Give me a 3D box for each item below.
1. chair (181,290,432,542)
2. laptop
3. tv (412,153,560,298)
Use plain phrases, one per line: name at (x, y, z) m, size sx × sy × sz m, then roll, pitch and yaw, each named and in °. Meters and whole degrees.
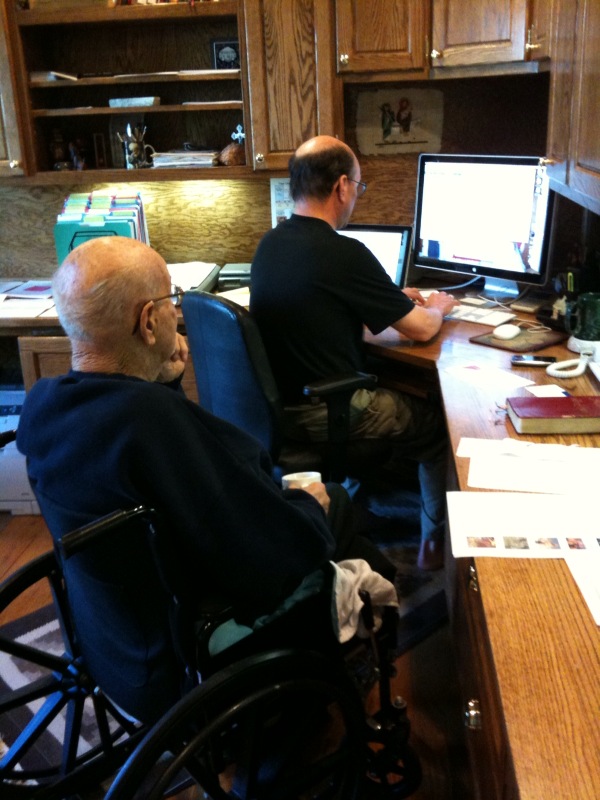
chair at (-0.005, -0.017, 1.770) m, size 0.480 × 0.553 × 0.522 m, roll -10°, pitch 15°, yaw -22°
laptop at (0.301, -0.604, 2.560) m, size 0.278 × 0.260 × 0.388 m, roll -5°, pitch 12°, yaw -32°
tv at (0.699, -0.711, 2.420) m, size 0.071 × 0.454 × 0.656 m, roll -19°, pitch 27°, yaw -30°
